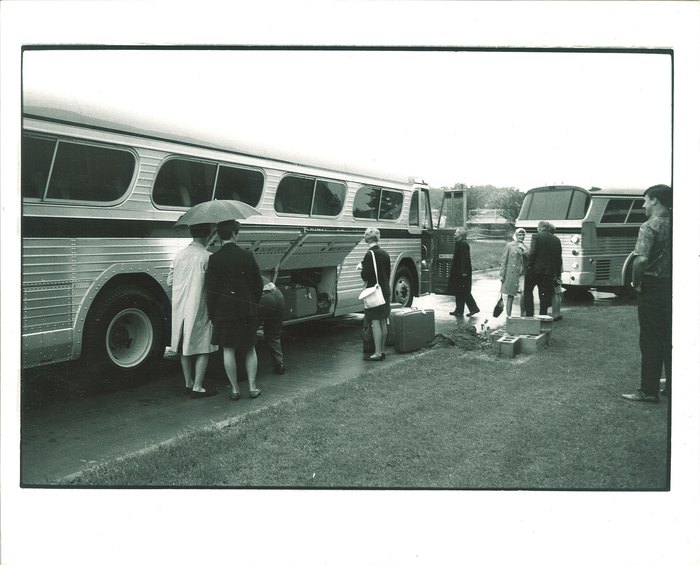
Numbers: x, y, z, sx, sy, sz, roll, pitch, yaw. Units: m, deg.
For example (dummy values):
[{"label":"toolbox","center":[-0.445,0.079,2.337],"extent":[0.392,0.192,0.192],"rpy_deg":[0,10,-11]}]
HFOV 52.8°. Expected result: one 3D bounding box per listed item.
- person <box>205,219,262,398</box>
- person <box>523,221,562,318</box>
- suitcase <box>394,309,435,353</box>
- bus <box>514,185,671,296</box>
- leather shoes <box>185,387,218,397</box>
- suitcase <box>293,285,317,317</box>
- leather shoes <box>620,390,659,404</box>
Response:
[{"label":"person","center":[-1.335,0.321,8.186],"extent":[0.650,2.096,0.264],"rpy_deg":[-1,5,-10]},{"label":"person","center":[3.275,-0.153,11.812],"extent":[0.649,1.358,0.533],"rpy_deg":[0,5,2]},{"label":"suitcase","center":[0.959,0.738,10.570],"extent":[0.192,0.531,0.587],"rpy_deg":[2,5,41]},{"label":"bus","center":[4.857,-1.009,14.248],"extent":[3.323,1.639,1.695],"rpy_deg":[-5,7,-27]},{"label":"leather shoes","center":[-1.749,1.261,8.349],"extent":[0.354,0.139,0.122],"rpy_deg":[-1,4,-24]},{"label":"suitcase","center":[-0.689,0.272,10.701],"extent":[0.151,0.445,0.477],"rpy_deg":[0,1,26]},{"label":"leather shoes","center":[3.270,1.255,7.857],"extent":[0.336,0.144,0.121],"rpy_deg":[5,-1,22]}]
